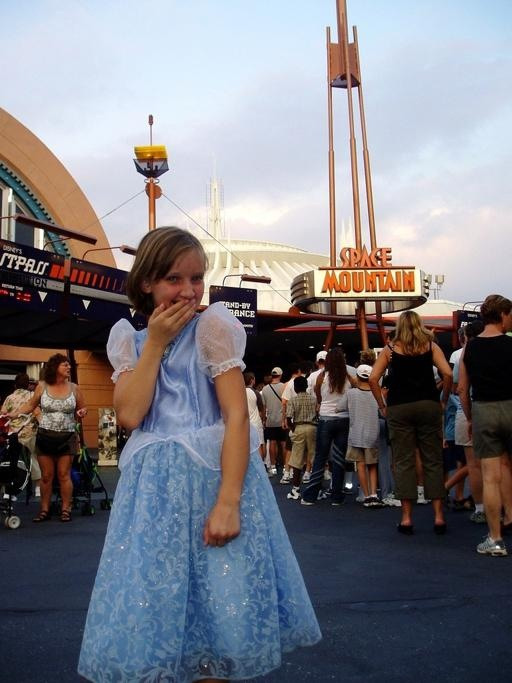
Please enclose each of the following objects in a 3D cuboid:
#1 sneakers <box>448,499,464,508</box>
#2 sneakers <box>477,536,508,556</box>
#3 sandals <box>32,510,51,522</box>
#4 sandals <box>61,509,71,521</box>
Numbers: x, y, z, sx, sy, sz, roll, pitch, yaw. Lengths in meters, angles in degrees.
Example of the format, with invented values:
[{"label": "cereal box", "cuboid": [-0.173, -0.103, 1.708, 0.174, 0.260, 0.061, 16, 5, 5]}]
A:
[{"label": "sneakers", "cuboid": [2.650, 2.178, 8.428, 0.088, 0.100, 0.219, -1, -18, 4]}, {"label": "sneakers", "cuboid": [1.961, 1.726, 5.340, 0.120, 0.134, 0.291, 0, -6, -13]}, {"label": "sandals", "cuboid": [-2.863, 2.344, 8.477, 0.147, 0.152, 0.419, -2, -15, -1]}, {"label": "sandals", "cuboid": [-2.485, 2.289, 8.276, 0.124, 0.138, 0.264, -4, 0, -18]}]
